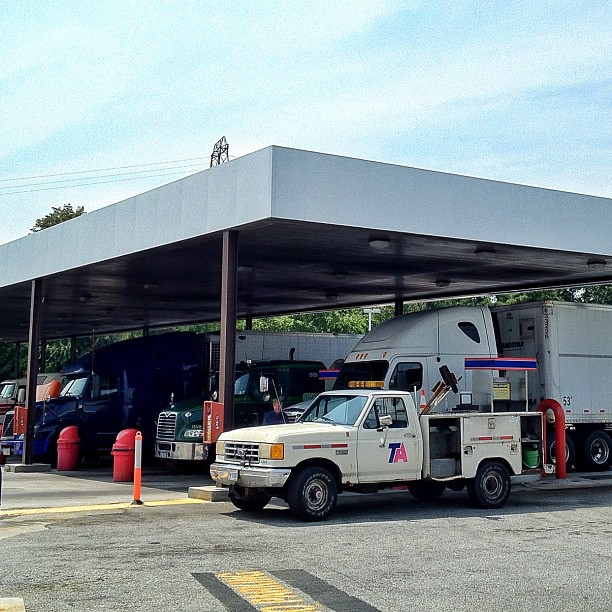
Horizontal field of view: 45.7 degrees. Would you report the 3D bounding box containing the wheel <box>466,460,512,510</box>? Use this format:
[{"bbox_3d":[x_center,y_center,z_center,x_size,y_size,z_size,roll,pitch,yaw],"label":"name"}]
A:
[{"bbox_3d":[3.174,3.100,12.586,0.769,0.861,0.294,11,-12,-17],"label":"wheel"}]

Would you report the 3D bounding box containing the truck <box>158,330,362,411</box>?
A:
[{"bbox_3d":[-0.254,2.377,21.859,4.939,2.502,1.709,-7,7,-33],"label":"truck"}]

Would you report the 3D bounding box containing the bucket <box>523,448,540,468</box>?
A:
[{"bbox_3d":[4.104,2.785,13.205,0.288,0.308,0.326,0,-15,-4],"label":"bucket"}]

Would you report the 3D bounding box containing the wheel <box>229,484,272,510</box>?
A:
[{"bbox_3d":[-0.893,3.123,12.168,0.621,0.208,0.627,2,-2,0],"label":"wheel"}]

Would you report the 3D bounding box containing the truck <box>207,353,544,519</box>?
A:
[{"bbox_3d":[1.299,2.231,12.964,5.317,2.882,3.226,7,-13,-27],"label":"truck"}]

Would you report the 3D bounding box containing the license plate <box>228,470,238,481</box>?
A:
[{"bbox_3d":[-1.107,2.602,11.091,0.037,0.155,0.265,7,-12,-34],"label":"license plate"}]

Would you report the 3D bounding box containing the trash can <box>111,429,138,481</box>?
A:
[{"bbox_3d":[-4.315,3.582,17.254,0.475,1.188,0.698,2,-10,-15],"label":"trash can"}]

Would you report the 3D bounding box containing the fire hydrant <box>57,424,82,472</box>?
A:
[{"bbox_3d":[-6.724,4.075,20.583,0.556,1.244,0.444,4,-11,-21],"label":"fire hydrant"}]

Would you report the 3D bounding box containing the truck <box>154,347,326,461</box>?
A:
[{"bbox_3d":[-1.119,2.747,19.933,5.750,2.897,2.038,2,-8,-40],"label":"truck"}]

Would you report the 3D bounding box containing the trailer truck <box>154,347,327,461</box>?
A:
[{"bbox_3d":[-0.844,3.087,20.613,7.002,2.927,2.271,6,-7,-42],"label":"trailer truck"}]

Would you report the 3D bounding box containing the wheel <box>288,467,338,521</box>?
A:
[{"bbox_3d":[0.122,2.844,10.926,0.723,0.801,0.245,0,-6,-29],"label":"wheel"}]

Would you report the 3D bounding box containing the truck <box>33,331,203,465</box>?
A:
[{"bbox_3d":[-5.213,3.454,23.702,7.475,4.314,2.695,10,-28,-32],"label":"truck"}]

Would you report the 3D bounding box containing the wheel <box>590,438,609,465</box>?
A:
[{"bbox_3d":[7.622,3.789,18.933,0.639,0.715,0.235,3,-5,-32],"label":"wheel"}]
